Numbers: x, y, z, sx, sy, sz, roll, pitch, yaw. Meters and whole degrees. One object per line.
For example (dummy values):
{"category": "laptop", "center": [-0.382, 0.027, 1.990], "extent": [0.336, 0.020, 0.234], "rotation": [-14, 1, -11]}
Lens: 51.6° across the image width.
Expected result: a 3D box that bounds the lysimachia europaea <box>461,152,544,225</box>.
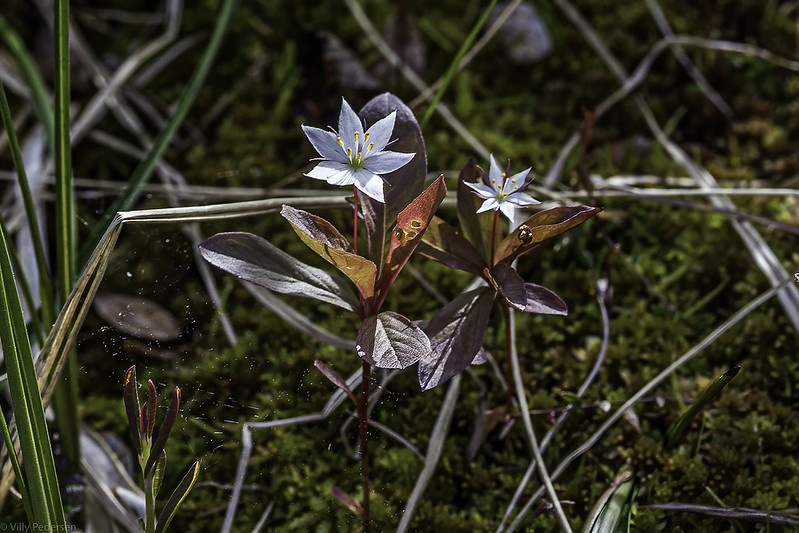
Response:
{"category": "lysimachia europaea", "center": [0.349, -0.260, 2.810], "extent": [0.177, 0.089, 0.186], "rotation": [13, -13, -37]}
